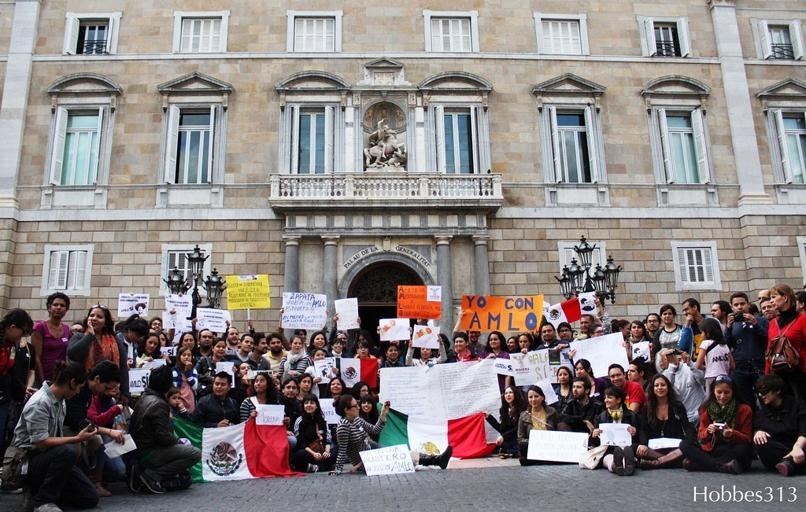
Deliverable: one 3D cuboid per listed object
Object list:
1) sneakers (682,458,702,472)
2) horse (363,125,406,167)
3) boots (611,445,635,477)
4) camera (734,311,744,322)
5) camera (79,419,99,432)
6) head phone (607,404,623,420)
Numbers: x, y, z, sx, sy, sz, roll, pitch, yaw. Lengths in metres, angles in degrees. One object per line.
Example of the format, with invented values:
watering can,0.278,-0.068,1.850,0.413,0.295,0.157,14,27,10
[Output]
sneakers,5.926,4.288,14.160,0.201,0.146,0.458,6,-3,-34
horse,-0.725,-4.090,26.252,1.871,1.762,0.499,0,-21,-1
boots,4.527,4.195,14.104,0.441,0.525,0.204,0,-15,7
camera,7.540,1.372,15.460,0.221,0.192,0.147,-3,-38,26
camera,-5.968,3.259,13.192,0.294,0.200,0.284,27,23,28
head phone,4.728,3.447,15.161,0.319,0.331,0.356,-7,-3,-13
